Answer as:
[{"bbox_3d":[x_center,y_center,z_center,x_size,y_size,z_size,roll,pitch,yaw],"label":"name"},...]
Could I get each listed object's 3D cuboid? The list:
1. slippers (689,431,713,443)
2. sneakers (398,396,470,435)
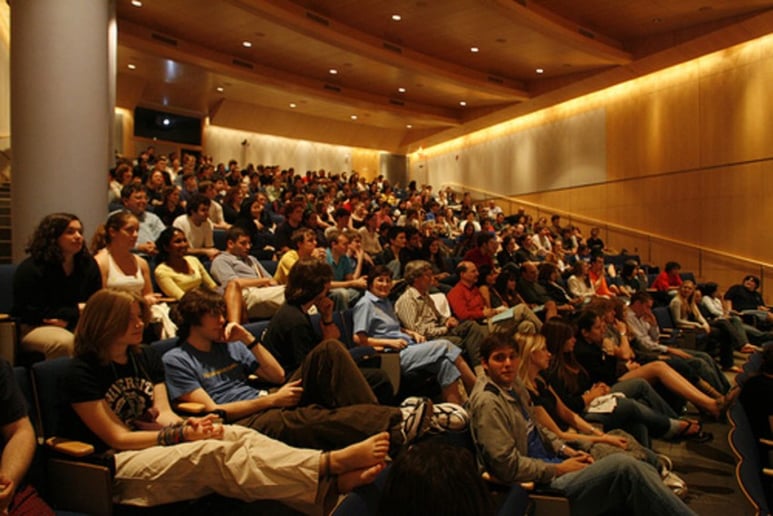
[{"bbox_3d":[2.570,1.468,4.700,0.226,0.094,0.076,5,-11,-13],"label":"slippers"},{"bbox_3d":[0.278,0.918,3.455,0.301,0.137,0.238,-1,-7,-15],"label":"sneakers"}]
